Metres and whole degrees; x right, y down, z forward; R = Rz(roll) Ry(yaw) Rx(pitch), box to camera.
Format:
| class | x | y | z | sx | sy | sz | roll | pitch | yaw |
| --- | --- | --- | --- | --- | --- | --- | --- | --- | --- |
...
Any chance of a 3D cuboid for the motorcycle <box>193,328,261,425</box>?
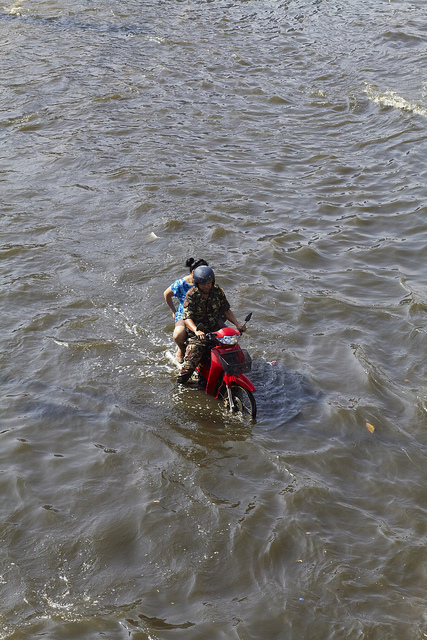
| class | x | y | z | sx | sy | sz | roll | pitch | yaw |
| --- | --- | --- | --- | --- | --- | --- | --- | --- | --- |
| motorcycle | 0.057 | 0.612 | 10.256 | 0.599 | 0.880 | 1.513 | -21 | 34 | -18 |

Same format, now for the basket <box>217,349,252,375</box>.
| class | x | y | z | sx | sy | sz | roll | pitch | yaw |
| --- | --- | --- | --- | --- | --- | --- | --- | --- | --- |
| basket | 0.263 | 0.507 | 9.885 | 0.352 | 0.176 | 0.335 | -16 | 71 | -6 |
